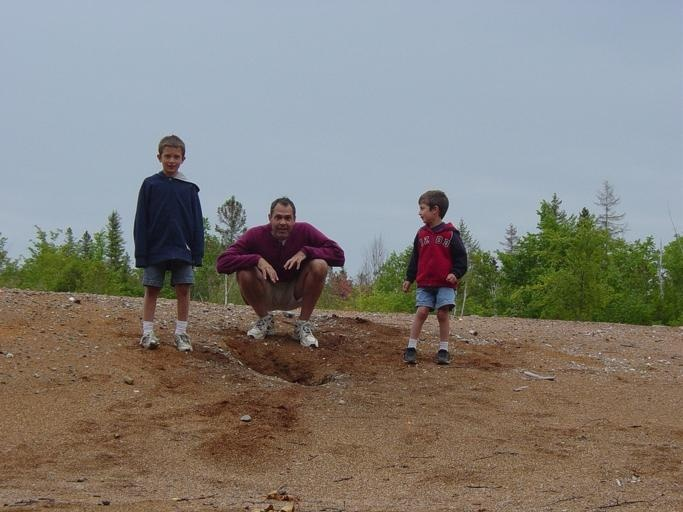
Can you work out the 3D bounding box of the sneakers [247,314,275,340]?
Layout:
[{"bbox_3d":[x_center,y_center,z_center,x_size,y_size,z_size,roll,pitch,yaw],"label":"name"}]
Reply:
[{"bbox_3d":[-0.994,0.901,8.891,0.173,0.225,0.452,6,4,20],"label":"sneakers"}]

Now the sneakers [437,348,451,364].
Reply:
[{"bbox_3d":[1.178,1.162,8.244,0.139,0.176,0.194,2,15,8],"label":"sneakers"}]

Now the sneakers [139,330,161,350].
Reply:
[{"bbox_3d":[-2.096,0.934,7.801,0.131,0.120,0.250,0,-6,-29],"label":"sneakers"}]

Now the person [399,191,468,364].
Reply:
[{"bbox_3d":[1.088,0.249,8.254,0.679,1.913,0.631,2,14,6],"label":"person"}]

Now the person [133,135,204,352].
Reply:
[{"bbox_3d":[-1.903,-0.115,7.868,0.757,2.327,0.626,-4,14,-14],"label":"person"}]

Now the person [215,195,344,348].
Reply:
[{"bbox_3d":[-0.736,0.193,8.710,1.432,1.812,0.709,-3,14,-11],"label":"person"}]

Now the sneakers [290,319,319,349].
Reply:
[{"bbox_3d":[-0.455,0.993,8.837,0.182,0.202,0.432,-3,1,-23],"label":"sneakers"}]
